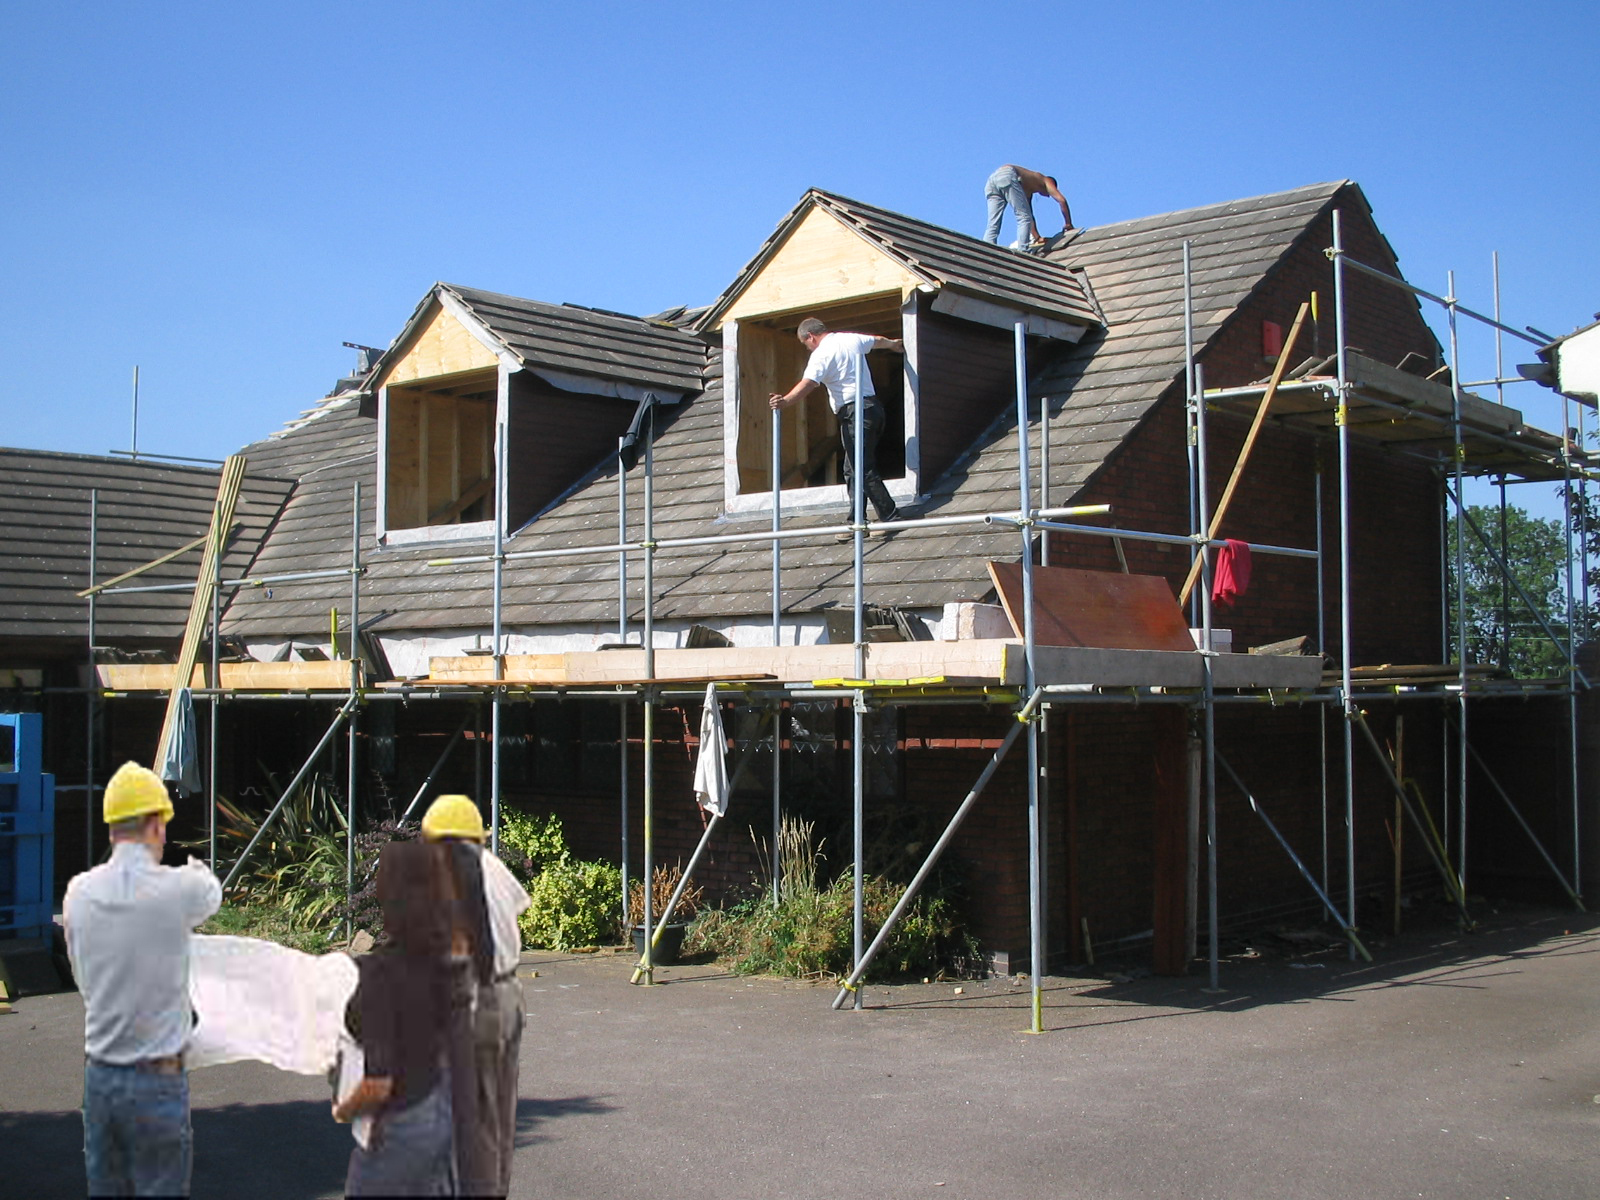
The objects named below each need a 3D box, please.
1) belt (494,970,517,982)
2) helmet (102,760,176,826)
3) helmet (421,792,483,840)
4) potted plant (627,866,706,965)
[{"bbox_3d":[-1.372,1.704,8.507,0.110,0.044,0.149,4,-10,-26],"label":"belt"},{"bbox_3d":[-3.249,0.940,9.117,0.264,0.242,0.356,-3,-5,8],"label":"helmet"},{"bbox_3d":[-1.622,0.994,8.610,0.191,0.142,0.263,1,0,-11],"label":"helmet"},{"bbox_3d":[-1.182,2.806,16.763,0.611,0.491,0.594,2,-5,-21],"label":"potted plant"}]
